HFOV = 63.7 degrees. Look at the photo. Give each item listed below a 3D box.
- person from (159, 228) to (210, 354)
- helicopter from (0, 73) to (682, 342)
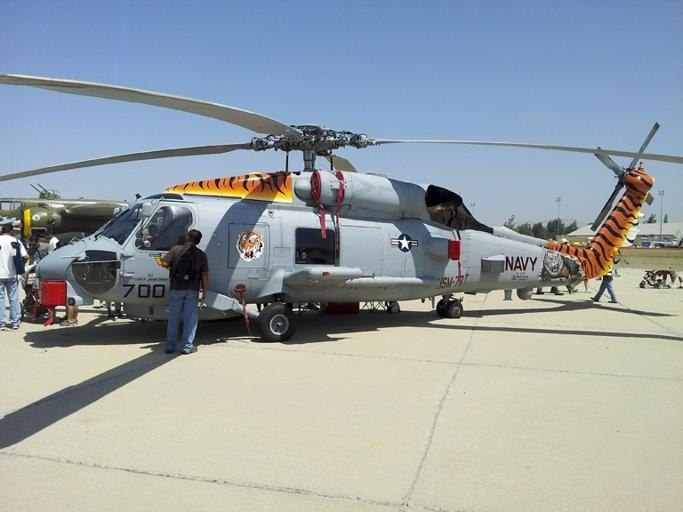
[{"bbox_3d":[-2.257,0.538,7.821,0.633,1.785,0.792,1,15,-8],"label":"person"},{"bbox_3d":[0.481,-0.247,9.279,8.051,2.216,5.840,3,-2,-22],"label":"helicopter"}]
